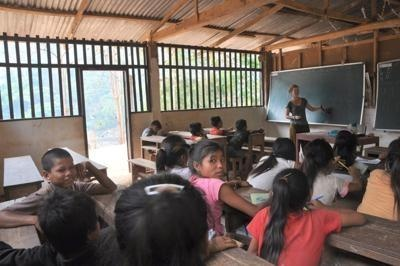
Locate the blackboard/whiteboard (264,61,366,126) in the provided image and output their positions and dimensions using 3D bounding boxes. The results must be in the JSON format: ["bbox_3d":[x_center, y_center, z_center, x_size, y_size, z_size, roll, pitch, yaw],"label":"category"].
[{"bbox_3d":[3.125,-1.047,7.554,0.027,1.173,2.006,-2,3,-40],"label":"blackboard/whiteboard"}]

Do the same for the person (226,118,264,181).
[{"bbox_3d":[0.836,0.343,5.582,0.705,0.764,1.036,-22,28,-37],"label":"person"}]
